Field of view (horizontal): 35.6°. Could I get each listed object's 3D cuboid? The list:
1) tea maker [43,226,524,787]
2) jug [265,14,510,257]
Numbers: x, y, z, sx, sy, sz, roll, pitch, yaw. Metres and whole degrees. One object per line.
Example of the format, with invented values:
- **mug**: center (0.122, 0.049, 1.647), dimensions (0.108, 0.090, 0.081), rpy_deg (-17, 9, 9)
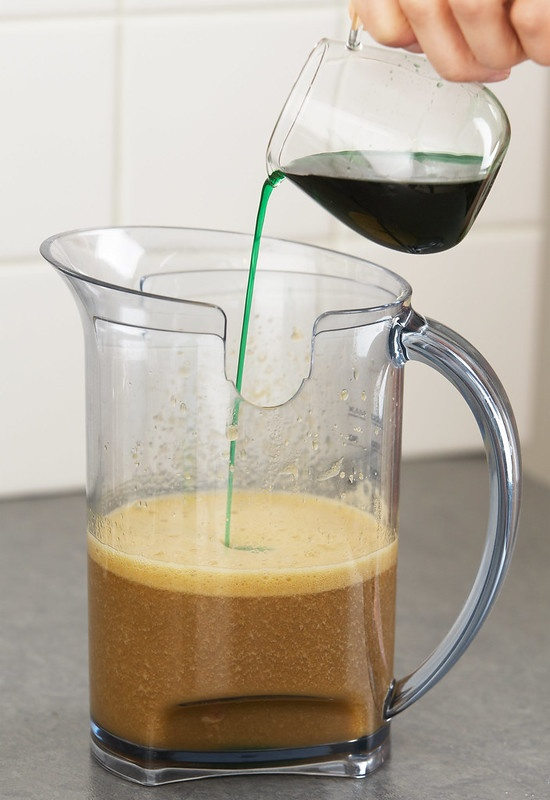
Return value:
- **tea maker**: center (0.006, 0.061, 0.387), dimensions (0.203, 0.203, 0.108), rpy_deg (2, 13, -1)
- **jug**: center (0.051, -0.107, 0.345), dimensions (0.115, 0.078, 0.072), rpy_deg (12, 21, 14)
